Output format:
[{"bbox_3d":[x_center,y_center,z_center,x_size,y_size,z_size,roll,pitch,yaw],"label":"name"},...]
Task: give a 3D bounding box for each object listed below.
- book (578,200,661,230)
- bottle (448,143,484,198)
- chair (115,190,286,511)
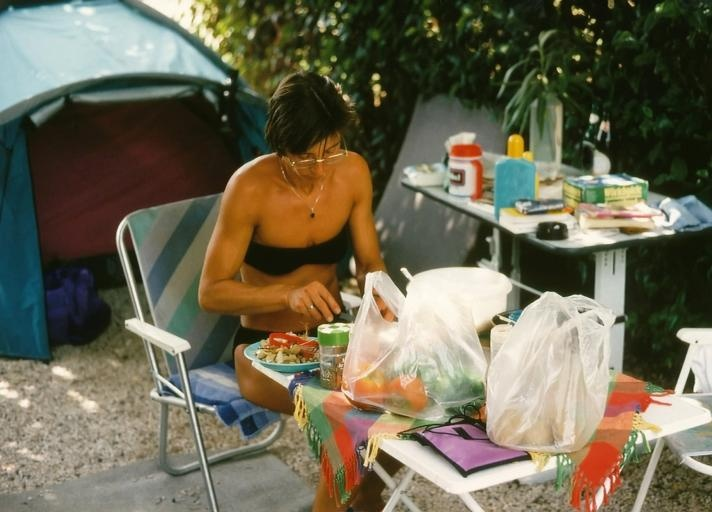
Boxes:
[{"bbox_3d":[1.038,-0.154,2.909,0.330,0.110,0.195,4,9,7],"label":"book"},{"bbox_3d":[0.479,-0.372,3.272,0.103,0.268,0.135,-9,19,-24],"label":"bottle"},{"bbox_3d":[-0.552,0.391,3.054,0.733,1.287,0.730,-8,10,-38],"label":"chair"}]
